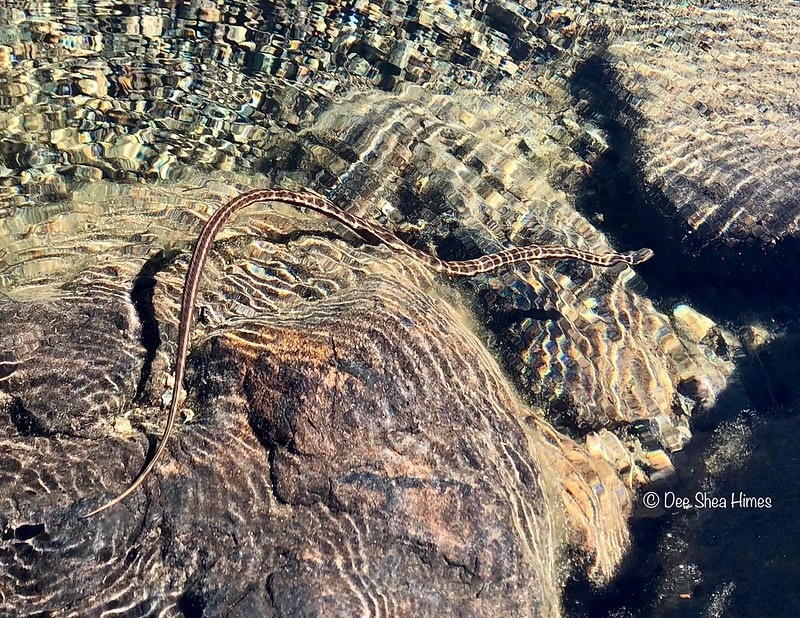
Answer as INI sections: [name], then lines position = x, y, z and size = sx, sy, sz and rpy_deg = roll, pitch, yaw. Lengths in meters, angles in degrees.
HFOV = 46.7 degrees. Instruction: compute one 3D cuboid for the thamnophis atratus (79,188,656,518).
[thamnophis atratus]
position = -0.600, -0.454, 12.662
size = 7.260, 2.079, 2.974
rpy_deg = -12, 55, -37
